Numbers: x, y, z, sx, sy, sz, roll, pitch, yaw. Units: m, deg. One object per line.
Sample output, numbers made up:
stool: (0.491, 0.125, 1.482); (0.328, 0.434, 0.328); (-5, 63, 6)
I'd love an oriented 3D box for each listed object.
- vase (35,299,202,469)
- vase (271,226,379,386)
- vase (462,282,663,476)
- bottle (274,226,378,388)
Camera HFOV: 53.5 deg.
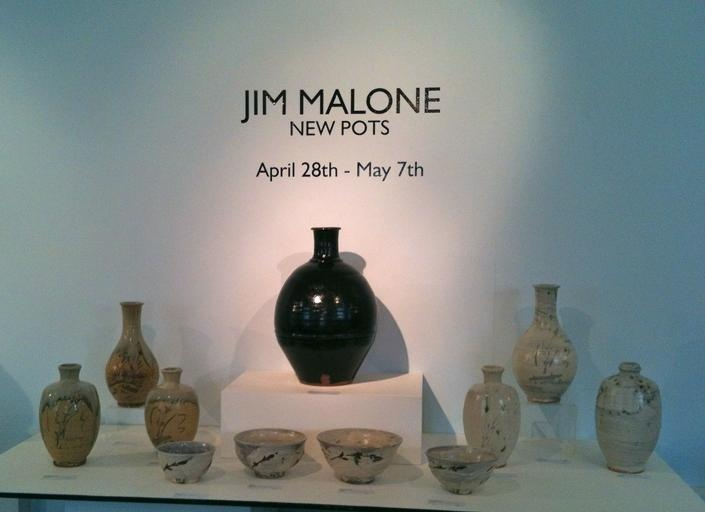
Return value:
vase: (-1.004, 0.568, 3.099); (0.233, 0.595, 0.639); (0, 1, 19)
vase: (-0.115, 0.214, 3.159); (0.590, 0.873, 0.593); (0, -3, 1)
vase: (0.944, 0.541, 3.026); (0.692, 0.670, 0.261); (3, -5, 20)
bottle: (-0.102, 0.223, 3.037); (0.328, 0.663, 0.390); (14, 19, 43)
